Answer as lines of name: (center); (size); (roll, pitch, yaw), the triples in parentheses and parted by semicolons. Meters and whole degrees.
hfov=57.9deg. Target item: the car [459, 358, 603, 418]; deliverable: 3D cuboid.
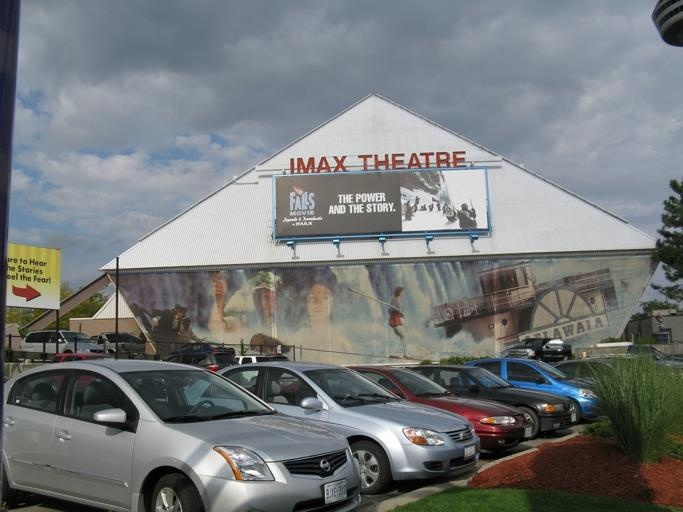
car: (4.770, 3.443, 15.506); (3.270, 1.248, 1.559); (-4, -4, 27)

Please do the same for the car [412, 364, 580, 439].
car: (3.183, 2.933, 13.118); (3.372, 1.186, 1.570); (-4, -7, 26)

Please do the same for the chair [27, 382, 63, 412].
chair: (-3.737, 1.794, 7.774); (0.305, 0.409, 0.386); (8, -15, -19)

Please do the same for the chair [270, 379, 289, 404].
chair: (-0.908, 2.115, 9.519); (0.222, 0.368, 0.308); (7, -16, -37)

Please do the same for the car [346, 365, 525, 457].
car: (1.559, 2.750, 11.271); (3.255, 1.041, 1.490); (-5, -8, 34)

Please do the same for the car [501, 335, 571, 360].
car: (10.553, 5.066, 32.845); (2.186, 1.204, 3.345); (-9, -7, 40)

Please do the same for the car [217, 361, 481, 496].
car: (0.077, 2.420, 9.358); (3.353, 1.168, 1.730); (-6, -9, 34)
